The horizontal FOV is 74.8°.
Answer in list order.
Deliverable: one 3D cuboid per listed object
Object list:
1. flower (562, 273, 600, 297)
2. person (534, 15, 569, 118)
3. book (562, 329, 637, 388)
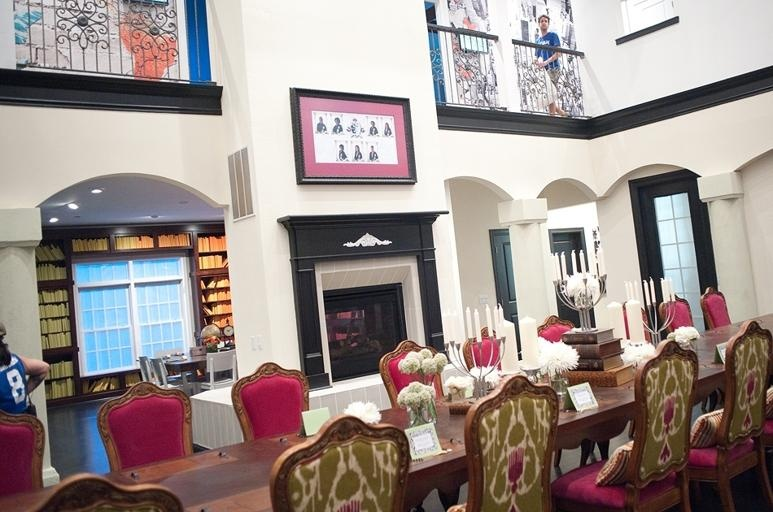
[{"bbox_3d":[1.478,0.219,3.832,0.180,0.131,0.185,-2,-3,-7],"label":"flower"},{"bbox_3d":[2.742,-3.244,8.552,0.416,1.933,0.661,-7,-5,22],"label":"person"},{"bbox_3d":[1.600,0.729,3.860,0.446,0.344,0.450,-5,0,44],"label":"book"}]
